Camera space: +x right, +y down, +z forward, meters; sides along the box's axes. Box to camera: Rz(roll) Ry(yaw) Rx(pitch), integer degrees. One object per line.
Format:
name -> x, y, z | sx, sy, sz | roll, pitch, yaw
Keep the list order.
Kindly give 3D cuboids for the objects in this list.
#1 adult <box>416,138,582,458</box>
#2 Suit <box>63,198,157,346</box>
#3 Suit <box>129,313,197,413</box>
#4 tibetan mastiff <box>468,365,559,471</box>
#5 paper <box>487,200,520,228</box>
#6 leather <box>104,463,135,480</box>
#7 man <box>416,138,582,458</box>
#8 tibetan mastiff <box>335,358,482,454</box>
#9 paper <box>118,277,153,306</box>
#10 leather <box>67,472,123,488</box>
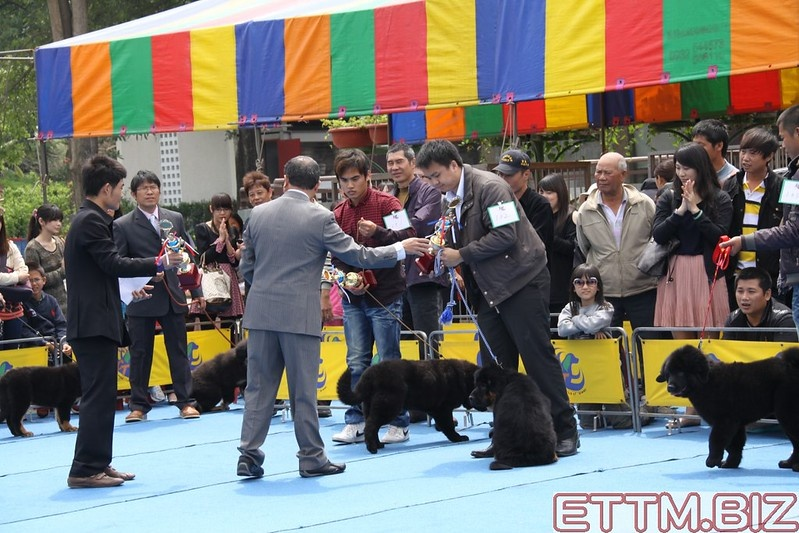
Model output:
adult -> 1.010, 0.314, 9.816 | 1.528, 3.162, 1.026 | -3, -6, 3
Suit -> -2.902, 0.051, 9.399 | 0.804, 1.380, 0.432 | -8, 12, -21
Suit -> -2.982, 1.119, 12.079 | 0.861, 0.431, 1.878 | 2, 44, -17
tibetan mastiff -> 1.151, 1.450, 9.528 | 0.682, 0.901, 1.083 | -1, 2, -40
paper -> 1.012, -0.509, 9.398 | 0.291, 0.243, 0.138 | -3, 11, 4
leather -> -2.810, 2.026, 9.561 | 0.328, 0.132, 0.107 | 5, 10, -3
man -> 0.975, 0.310, 9.801 | 1.539, 3.143, 1.009 | -4, -4, 1
tibetan mastiff -> 0.137, 1.445, 10.171 | 1.777, 0.943, 0.554 | 4, -4, -33
paper -> -2.798, 0.256, 10.294 | 0.378, 0.225, 0.399 | -26, -3, -1
leather -> -2.978, 2.088, 9.501 | 0.551, 0.213, 0.178 | 0, -1, -6
